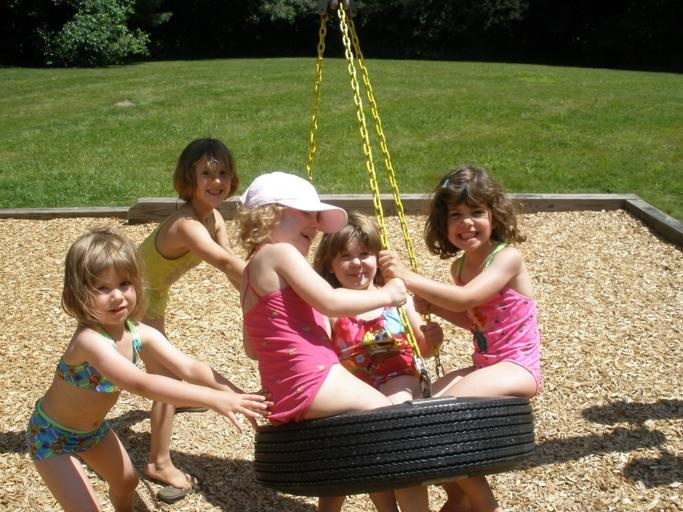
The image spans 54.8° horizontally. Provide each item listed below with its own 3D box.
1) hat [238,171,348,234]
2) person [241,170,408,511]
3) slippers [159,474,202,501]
[{"bbox_3d":[-0.281,-0.260,3.421,0.610,0.282,0.419,3,-20,3],"label":"hat"},{"bbox_3d":[-0.146,0.507,3.382,0.692,1.723,0.902,-7,25,-18],"label":"person"},{"bbox_3d":[-0.968,1.377,3.850,0.192,0.057,0.100,-25,43,-37],"label":"slippers"}]
